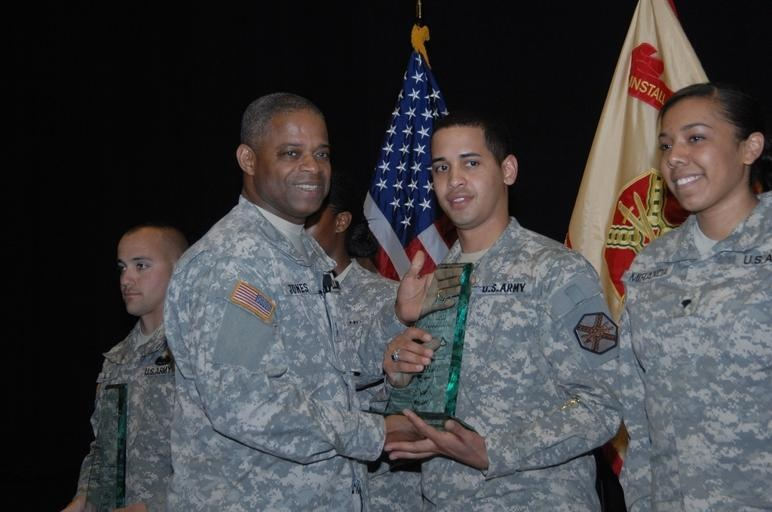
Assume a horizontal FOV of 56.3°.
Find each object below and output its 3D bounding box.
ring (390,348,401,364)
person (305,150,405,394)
[{"bbox_3d":[0.047,0.509,3.652,0.039,0.053,0.019,0,-7,28],"label":"ring"},{"bbox_3d":[-0.176,0.133,4.228,0.513,1.268,0.835,-1,-44,5],"label":"person"}]
